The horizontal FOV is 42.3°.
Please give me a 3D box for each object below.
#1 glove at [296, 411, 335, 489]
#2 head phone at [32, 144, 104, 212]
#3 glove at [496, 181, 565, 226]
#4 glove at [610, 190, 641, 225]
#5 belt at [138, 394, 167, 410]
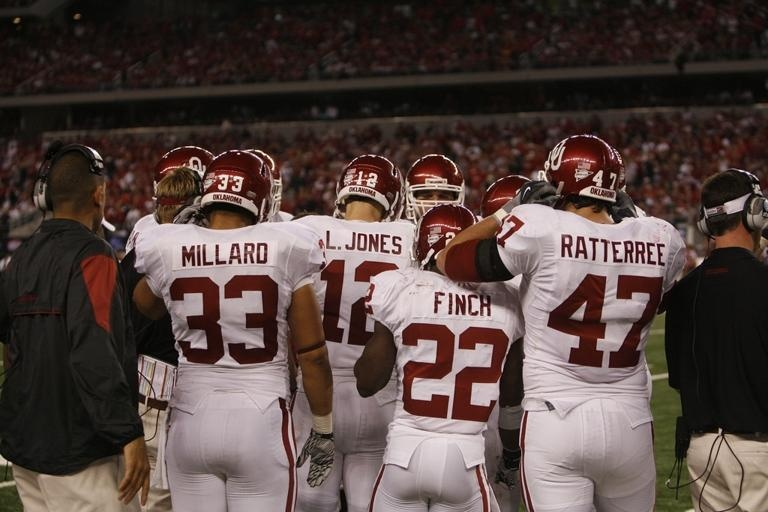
[{"bbox_3d":[-0.500,1.402,7.168,0.293,0.552,0.172,1,3,-20],"label":"glove"},{"bbox_3d":[-2.277,-0.590,7.141,0.527,0.452,0.188,-2,21,-40],"label":"head phone"},{"bbox_3d":[1.089,-0.446,7.330,0.498,0.205,0.379,-32,-12,36],"label":"glove"},{"bbox_3d":[1.782,-0.361,7.398,0.208,0.249,0.232,6,37,29],"label":"glove"},{"bbox_3d":[-1.790,1.137,7.695,0.182,0.042,0.176,14,-3,10],"label":"belt"}]
